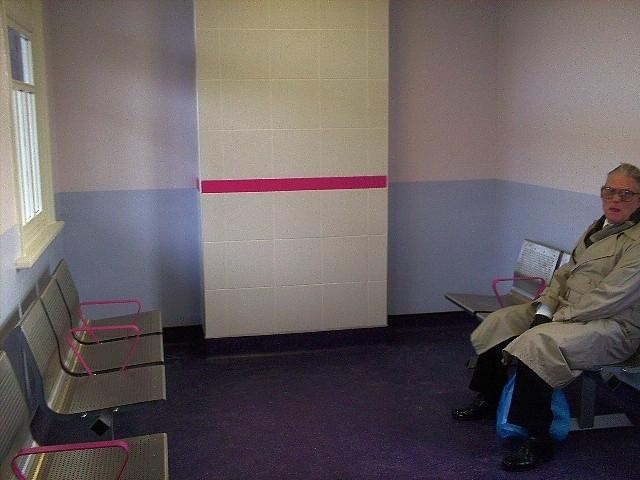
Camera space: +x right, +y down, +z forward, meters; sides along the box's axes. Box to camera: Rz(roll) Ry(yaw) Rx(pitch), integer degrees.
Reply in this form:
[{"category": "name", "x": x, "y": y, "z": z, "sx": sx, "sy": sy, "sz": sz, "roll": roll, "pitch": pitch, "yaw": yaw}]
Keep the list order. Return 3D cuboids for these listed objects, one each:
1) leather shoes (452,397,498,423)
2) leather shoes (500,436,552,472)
[{"category": "leather shoes", "x": 1.110, "y": 1.199, "z": 3.310, "sx": 0.367, "sy": 0.160, "sz": 0.134, "roll": -2, "pitch": 1, "yaw": -16}, {"category": "leather shoes", "x": 1.281, "y": 1.276, "z": 2.857, "sx": 0.439, "sy": 0.177, "sz": 0.149, "roll": -1, "pitch": -1, "yaw": -38}]
